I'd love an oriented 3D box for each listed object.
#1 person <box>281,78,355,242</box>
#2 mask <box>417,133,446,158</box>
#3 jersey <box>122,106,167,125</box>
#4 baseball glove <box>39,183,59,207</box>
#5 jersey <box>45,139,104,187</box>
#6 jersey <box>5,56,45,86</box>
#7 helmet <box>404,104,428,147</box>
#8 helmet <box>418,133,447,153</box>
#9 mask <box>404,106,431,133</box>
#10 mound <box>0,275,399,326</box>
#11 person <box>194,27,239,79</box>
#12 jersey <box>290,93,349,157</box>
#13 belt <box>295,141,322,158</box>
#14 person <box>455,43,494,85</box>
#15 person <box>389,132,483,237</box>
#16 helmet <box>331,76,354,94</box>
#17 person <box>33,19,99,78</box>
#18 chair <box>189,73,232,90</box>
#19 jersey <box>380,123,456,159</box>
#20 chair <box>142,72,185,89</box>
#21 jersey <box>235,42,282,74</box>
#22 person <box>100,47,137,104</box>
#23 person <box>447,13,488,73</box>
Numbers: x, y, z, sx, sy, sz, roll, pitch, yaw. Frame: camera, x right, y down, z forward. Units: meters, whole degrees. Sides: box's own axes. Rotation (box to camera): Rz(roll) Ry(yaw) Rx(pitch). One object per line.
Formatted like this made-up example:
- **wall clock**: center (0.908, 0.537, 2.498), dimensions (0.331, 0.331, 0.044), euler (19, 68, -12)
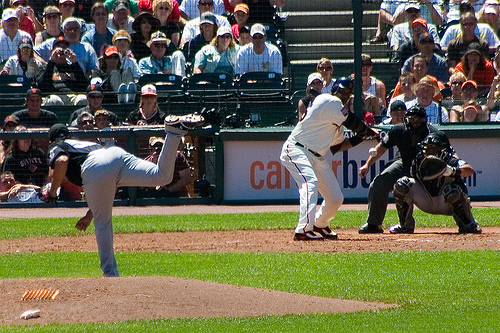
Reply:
- **person**: center (1.057, 0.022, 16.719), dimensions (1.043, 2.412, 0.599), euler (0, 1, 1)
- **mask**: center (3.040, -0.335, 16.973), dimensions (0.511, 0.477, 0.563), euler (8, 6, 1)
- **jersey**: center (-2.178, -1.057, 20.942), dimensions (0.912, 0.383, 0.362), euler (0, 1, 2)
- **baseball glove**: center (-3.065, 0.420, 15.419), dimensions (0.248, 0.272, 0.519), euler (-1, 1, -12)
- **jersey**: center (-2.601, -0.064, 15.135), dimensions (0.770, 0.697, 0.403), euler (0, 1, -9)
- **jersey**: center (-4.799, -2.029, 21.675), dimensions (0.608, 0.669, 0.390), euler (-2, -23, -16)
- **helmet**: center (2.763, -0.696, 17.153), dimensions (0.488, 0.592, 0.551), euler (2, 6, 13)
- **helmet**: center (2.969, -0.407, 16.784), dimensions (0.304, 0.368, 0.334), euler (-1, 3, 17)
- **mask**: center (2.807, -0.843, 17.167), dimensions (0.381, 0.436, 0.357), euler (0, -31, 15)
- **mound**: center (-1.193, 1.863, 14.235), dimensions (4.756, 0.522, 0.927), euler (0, 1, -1)
- **person**: center (-0.737, -2.425, 21.956), dimensions (1.110, 0.995, 0.619), euler (9, -10, -8)
- **jersey**: center (1.178, -0.674, 16.963), dimensions (0.526, 0.884, 0.921), euler (23, 16, -49)
- **belt**: center (0.942, -0.282, 16.667), dimensions (0.305, 0.089, 0.235), euler (30, -4, 5)
- **person**: center (4.759, -2.125, 21.592), dimensions (0.730, 0.903, 0.475), euler (-6, -15, 4)
- **person**: center (3.069, 0.282, 16.990), dimensions (1.412, 1.726, 0.564), euler (0, 1, 10)
- **helmet**: center (1.500, -1.343, 16.846), dimensions (0.347, 0.276, 0.398), euler (0, 1, 5)
- **person**: center (-4.009, -2.542, 22.241), dimensions (1.161, 1.435, 0.821), euler (-6, -38, -18)
- **chair**: center (-0.828, -1.784, 21.251), dimensions (0.885, 0.361, 0.214), euler (0, 1, -4)
- **jersey**: center (2.725, -0.487, 17.317), dimensions (0.395, 0.618, 1.390), euler (2, -9, -45)
- **chair**: center (-1.830, -1.799, 21.389), dimensions (0.921, 0.339, 0.393), euler (0, 1, -1)
- **jersey**: center (0.196, -2.308, 21.957), dimensions (1.042, 0.757, 0.454), euler (4, 22, 10)
- **person**: center (-2.755, -1.950, 21.547), dimensions (0.654, 1.255, 1.202), euler (-1, 1, -20)
- **person**: center (4.682, -2.702, 21.918), dimensions (0.830, 1.224, 1.336), euler (-2, 0, 12)
